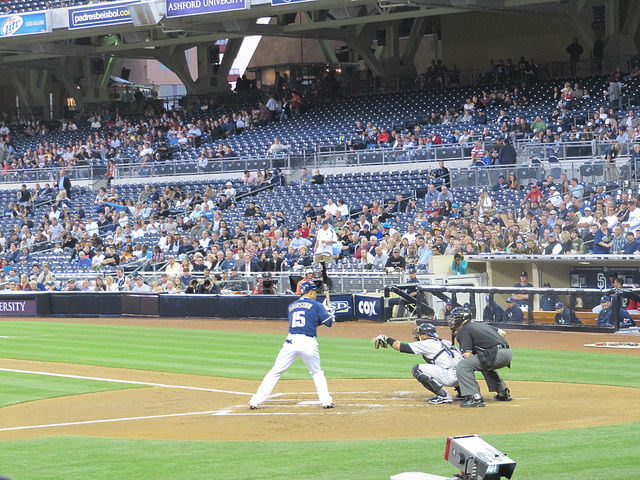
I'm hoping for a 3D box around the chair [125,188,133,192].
[{"bbox_3d":[-7.743,-1.969,63.935,0.394,0.160,0.117,-1,1,28],"label":"chair"}]

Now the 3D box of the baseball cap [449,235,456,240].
[{"bbox_3d":[4.214,-0.049,50.966,0.214,0.142,0.225,-1,1,0],"label":"baseball cap"}]

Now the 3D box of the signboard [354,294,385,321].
[{"bbox_3d":[1.546,2.224,51.207,0.192,0.828,1.336,-1,1,-41],"label":"signboard"}]

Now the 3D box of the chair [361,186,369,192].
[{"bbox_3d":[1.596,-1.817,57.859,0.276,0.218,0.519,-1,0,-2],"label":"chair"}]

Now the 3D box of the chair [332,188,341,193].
[{"bbox_3d":[0.599,-1.789,58.459,0.236,0.170,0.372,-1,1,-35],"label":"chair"}]

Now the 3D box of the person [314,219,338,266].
[{"bbox_3d":[0.156,0.133,52.802,0.781,1.477,0.716,-1,1,-1],"label":"person"}]

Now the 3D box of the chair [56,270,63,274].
[{"bbox_3d":[-9.349,1.189,56.747,0.232,0.119,0.620,-1,0,-11],"label":"chair"}]

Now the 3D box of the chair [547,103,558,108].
[{"bbox_3d":[8.545,-4.958,58.815,0.331,0.203,0.501,-1,0,11],"label":"chair"}]

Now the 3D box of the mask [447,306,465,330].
[{"bbox_3d":[3.421,2.023,40.460,0.475,0.473,0.430,2,3,19],"label":"mask"}]

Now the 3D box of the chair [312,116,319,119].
[{"bbox_3d":[-0.238,-5.046,65.850,0.277,0.121,0.182,-1,1,26],"label":"chair"}]

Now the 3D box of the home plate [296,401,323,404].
[{"bbox_3d":[-0.293,4.254,41.097,0.596,0.046,0.241,-1,0,7],"label":"home plate"}]

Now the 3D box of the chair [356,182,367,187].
[{"bbox_3d":[1.474,-1.988,58.217,0.454,0.174,0.247,-1,1,20],"label":"chair"}]

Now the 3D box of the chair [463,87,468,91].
[{"bbox_3d":[5.737,-5.991,63.187,0.113,0.116,0.240,-1,1,-24],"label":"chair"}]

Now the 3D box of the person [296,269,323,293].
[{"bbox_3d":[-0.507,1.282,50.369,0.850,0.994,0.556,0,-4,-37],"label":"person"}]

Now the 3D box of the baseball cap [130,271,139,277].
[{"bbox_3d":[-6.447,1.239,54.925,0.257,0.163,0.391,-1,0,10],"label":"baseball cap"}]

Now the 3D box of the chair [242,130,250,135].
[{"bbox_3d":[-3.168,-4.474,66.446,0.297,0.208,0.166,-1,-7,2],"label":"chair"}]

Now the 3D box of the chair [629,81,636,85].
[{"bbox_3d":[11.272,-5.670,57.538,0.264,0.135,0.149,0,1,35],"label":"chair"}]

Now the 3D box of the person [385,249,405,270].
[{"bbox_3d":[2.444,0.734,51.365,0.653,0.942,0.537,-2,-19,9],"label":"person"}]

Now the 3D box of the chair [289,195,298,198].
[{"bbox_3d":[-1.017,-1.586,59.109,0.402,0.103,0.160,0,1,34],"label":"chair"}]

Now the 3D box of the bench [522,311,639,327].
[{"bbox_3d":[7.780,2.411,48.102,3.417,0.379,0.238,-1,1,27],"label":"bench"}]

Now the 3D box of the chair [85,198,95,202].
[{"bbox_3d":[-9.247,-1.554,63.566,0.447,0.158,0.165,0,1,33],"label":"chair"}]

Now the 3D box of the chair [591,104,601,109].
[{"bbox_3d":[9.908,-4.802,57.372,0.422,0.161,0.230,0,1,37],"label":"chair"}]

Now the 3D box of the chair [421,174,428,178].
[{"bbox_3d":[3.704,-2.254,56.811,0.186,0.124,0.377,-1,1,-33],"label":"chair"}]

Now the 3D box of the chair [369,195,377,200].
[{"bbox_3d":[1.844,-1.502,57.112,0.209,0.162,0.417,-1,1,-33],"label":"chair"}]

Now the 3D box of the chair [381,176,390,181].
[{"bbox_3d":[2.341,-2.205,57.854,0.152,0.173,0.417,-1,1,-41],"label":"chair"}]
